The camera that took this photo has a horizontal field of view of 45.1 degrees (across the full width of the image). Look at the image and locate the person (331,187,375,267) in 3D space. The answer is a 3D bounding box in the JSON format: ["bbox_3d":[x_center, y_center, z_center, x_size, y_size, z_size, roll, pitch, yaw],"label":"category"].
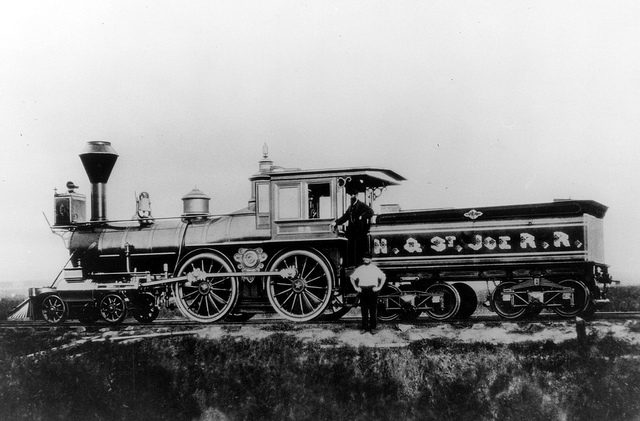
[{"bbox_3d":[0.651,0.414,15.821,0.582,1.861,0.989,19,-27,-41],"label":"person"}]

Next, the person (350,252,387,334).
[{"bbox_3d":[0.971,1.678,15.456,0.659,1.577,0.396,-1,-3,1],"label":"person"}]
